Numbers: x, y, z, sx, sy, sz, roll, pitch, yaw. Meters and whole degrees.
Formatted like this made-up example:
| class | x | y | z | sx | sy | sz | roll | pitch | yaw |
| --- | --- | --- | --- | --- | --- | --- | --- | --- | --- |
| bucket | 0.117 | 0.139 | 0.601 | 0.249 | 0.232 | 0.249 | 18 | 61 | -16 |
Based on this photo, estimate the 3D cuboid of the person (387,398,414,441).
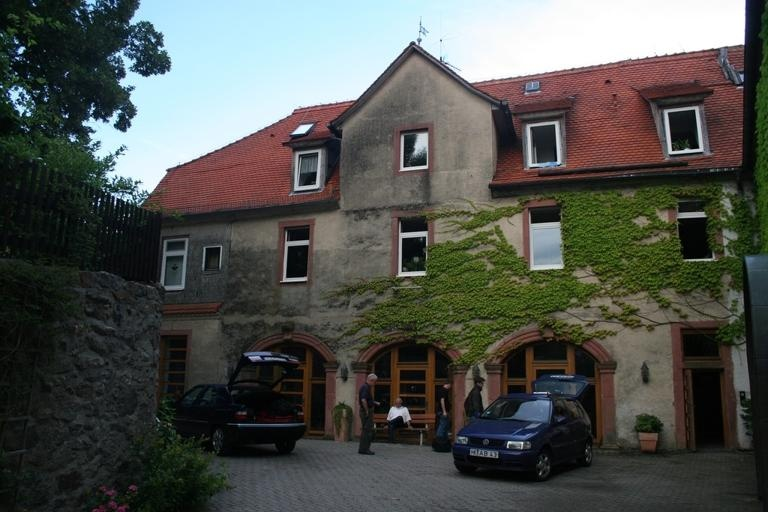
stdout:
| class | x | y | z | sx | sy | sz | roll | pitch | yaw |
| --- | --- | --- | --- | --- | --- | --- | --- | --- | --- |
| person | 0.489 | 5.286 | 20.972 | 0.776 | 1.380 | 1.422 | 1 | -15 | 0 |

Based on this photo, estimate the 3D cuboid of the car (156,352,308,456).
| class | x | y | z | sx | sy | sz | roll | pitch | yaw |
| --- | --- | --- | --- | --- | --- | --- | --- | --- | --- |
| car | -4.302 | 4.267 | 18.577 | 4.359 | 2.244 | 2.464 | -9 | -16 | 43 |

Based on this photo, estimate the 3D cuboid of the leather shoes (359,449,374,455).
| class | x | y | z | sx | sy | sz | roll | pitch | yaw |
| --- | --- | --- | --- | --- | --- | --- | --- | --- | --- |
| leather shoes | -0.491 | 5.518 | 18.246 | 0.450 | 0.175 | 0.145 | -2 | -6 | 3 |

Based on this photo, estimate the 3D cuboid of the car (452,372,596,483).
| class | x | y | z | sx | sy | sz | roll | pitch | yaw |
| --- | --- | --- | --- | --- | --- | --- | --- | --- | --- |
| car | 3.717 | 4.456 | 16.639 | 2.517 | 1.716 | 4.043 | -5 | -10 | 40 |

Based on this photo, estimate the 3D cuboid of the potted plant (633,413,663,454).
| class | x | y | z | sx | sy | sz | roll | pitch | yaw |
| --- | --- | --- | --- | --- | --- | --- | --- | --- | --- |
| potted plant | 7.816 | 5.199 | 19.201 | 0.826 | 0.956 | 0.769 | 7 | -9 | -18 |

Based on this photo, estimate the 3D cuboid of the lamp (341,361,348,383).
| class | x | y | z | sx | sy | sz | roll | pitch | yaw |
| --- | --- | --- | --- | --- | --- | --- | --- | --- | --- |
| lamp | -1.354 | 3.955 | 22.060 | 0.273 | 0.623 | 0.209 | -10 | -19 | 36 |

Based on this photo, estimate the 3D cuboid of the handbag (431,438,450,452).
| class | x | y | z | sx | sy | sz | roll | pitch | yaw |
| --- | --- | --- | --- | --- | --- | --- | --- | --- | --- |
| handbag | 1.688 | 5.581 | 19.169 | 0.430 | 0.251 | 0.425 | -2 | -6 | 16 |

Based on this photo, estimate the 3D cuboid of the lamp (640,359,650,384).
| class | x | y | z | sx | sy | sz | roll | pitch | yaw |
| --- | --- | --- | --- | --- | --- | --- | --- | --- | --- |
| lamp | 7.809 | 3.464 | 19.386 | 0.264 | 0.660 | 0.190 | -4 | -16 | 19 |

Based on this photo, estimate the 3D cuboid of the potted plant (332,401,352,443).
| class | x | y | z | sx | sy | sz | roll | pitch | yaw |
| --- | --- | --- | --- | --- | --- | --- | --- | --- | --- |
| potted plant | -1.441 | 5.697 | 22.008 | 0.784 | 1.133 | 0.803 | -12 | -16 | 34 |
